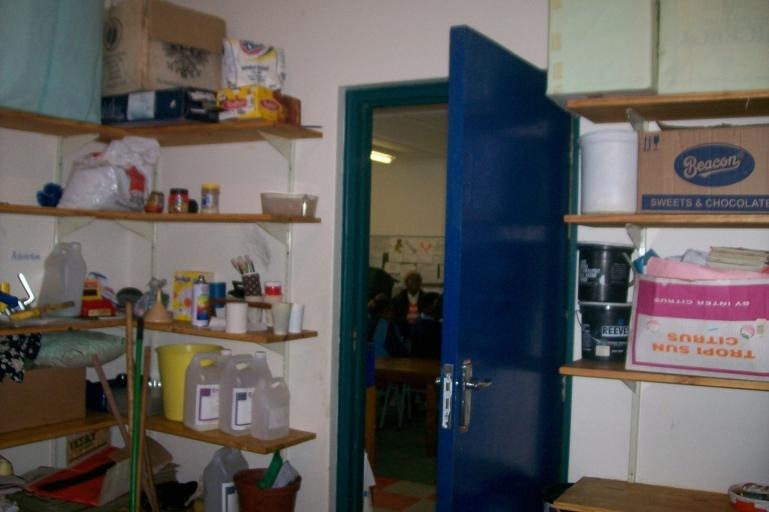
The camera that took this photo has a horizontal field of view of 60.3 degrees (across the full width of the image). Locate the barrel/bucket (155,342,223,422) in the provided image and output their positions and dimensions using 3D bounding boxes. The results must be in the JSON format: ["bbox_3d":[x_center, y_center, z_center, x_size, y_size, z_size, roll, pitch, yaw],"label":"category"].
[{"bbox_3d":[-1.184,0.724,4.013,0.429,0.408,0.417,2,2,0],"label":"barrel/bucket"}]

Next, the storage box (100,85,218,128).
[{"bbox_3d":[-1.288,-0.842,3.760,0.730,0.172,0.123,2,-1,20],"label":"storage box"}]

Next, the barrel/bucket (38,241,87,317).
[{"bbox_3d":[-1.849,0.125,3.859,0.269,0.416,0.364,3,-1,-35],"label":"barrel/bucket"}]

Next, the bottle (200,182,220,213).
[{"bbox_3d":[-1.000,-0.333,3.795,0.090,0.144,0.107,2,-1,-19],"label":"bottle"}]

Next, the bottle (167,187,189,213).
[{"bbox_3d":[-1.256,-0.327,3.902,0.139,0.148,0.137,-2,-2,25],"label":"bottle"}]

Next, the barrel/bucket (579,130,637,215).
[{"bbox_3d":[1.069,-0.391,3.152,0.246,0.384,0.318,3,-4,-30],"label":"barrel/bucket"}]

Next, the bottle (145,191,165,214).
[{"bbox_3d":[-1.377,-0.326,3.961,0.107,0.114,0.149,2,-1,-22],"label":"bottle"}]

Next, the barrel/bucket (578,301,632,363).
[{"bbox_3d":[1.027,0.362,3.136,0.266,0.220,0.265,0,-5,0],"label":"barrel/bucket"}]

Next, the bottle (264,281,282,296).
[{"bbox_3d":[-0.633,0.177,3.754,0.084,0.077,0.077,4,-4,-38],"label":"bottle"}]

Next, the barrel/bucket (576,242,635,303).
[{"bbox_3d":[1.073,0.105,3.264,0.326,0.279,0.320,3,-8,0],"label":"barrel/bucket"}]

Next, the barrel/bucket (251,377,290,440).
[{"bbox_3d":[-0.611,0.824,3.607,0.216,0.260,0.107,2,-1,-26],"label":"barrel/bucket"}]

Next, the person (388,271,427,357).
[{"bbox_3d":[0.257,0.651,7.279,0.483,0.639,1.124,1,36,4],"label":"person"}]

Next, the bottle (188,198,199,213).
[{"bbox_3d":[-1.141,-0.301,3.946,0.051,0.071,0.109,2,-1,-10],"label":"bottle"}]
